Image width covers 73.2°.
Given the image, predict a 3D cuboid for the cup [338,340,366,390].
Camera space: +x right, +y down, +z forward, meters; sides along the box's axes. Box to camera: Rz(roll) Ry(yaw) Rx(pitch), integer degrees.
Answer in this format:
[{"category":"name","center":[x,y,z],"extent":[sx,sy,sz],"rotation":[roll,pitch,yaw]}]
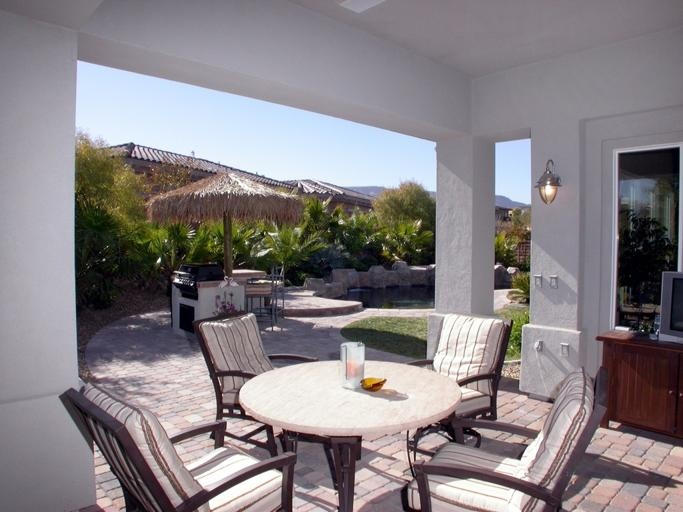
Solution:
[{"category":"cup","center":[0.078,0.811,3.447],"extent":[0.213,0.308,0.159],"rotation":[0,0,-45]}]

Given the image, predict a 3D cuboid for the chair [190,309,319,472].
[{"category":"chair","center":[-0.741,1.149,4.261],"extent":[1.058,1.111,0.734],"rotation":[0,3,32]}]

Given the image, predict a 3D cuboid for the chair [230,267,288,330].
[{"category":"chair","center":[-1.736,1.240,9.644],"extent":[0.951,1.242,1.893],"rotation":[0,3,-5]}]

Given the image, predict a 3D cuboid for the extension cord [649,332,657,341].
[{"category":"extension cord","center":[3.062,0.788,4.511],"extent":[0.088,0.053,0.067],"rotation":[14,-16,2]}]

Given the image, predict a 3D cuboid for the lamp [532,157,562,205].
[{"category":"lamp","center":[2.396,-0.867,5.333],"extent":[0.274,0.535,0.258],"rotation":[2,5,33]}]

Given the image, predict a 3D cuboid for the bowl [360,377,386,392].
[{"category":"bowl","center":[0.228,0.928,3.335],"extent":[0.109,0.050,0.110],"rotation":[-2,6,0]}]

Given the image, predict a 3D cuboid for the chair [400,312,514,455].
[{"category":"chair","center":[0.957,1.188,4.220],"extent":[0.726,1.172,1.057],"rotation":[1,-3,44]}]
